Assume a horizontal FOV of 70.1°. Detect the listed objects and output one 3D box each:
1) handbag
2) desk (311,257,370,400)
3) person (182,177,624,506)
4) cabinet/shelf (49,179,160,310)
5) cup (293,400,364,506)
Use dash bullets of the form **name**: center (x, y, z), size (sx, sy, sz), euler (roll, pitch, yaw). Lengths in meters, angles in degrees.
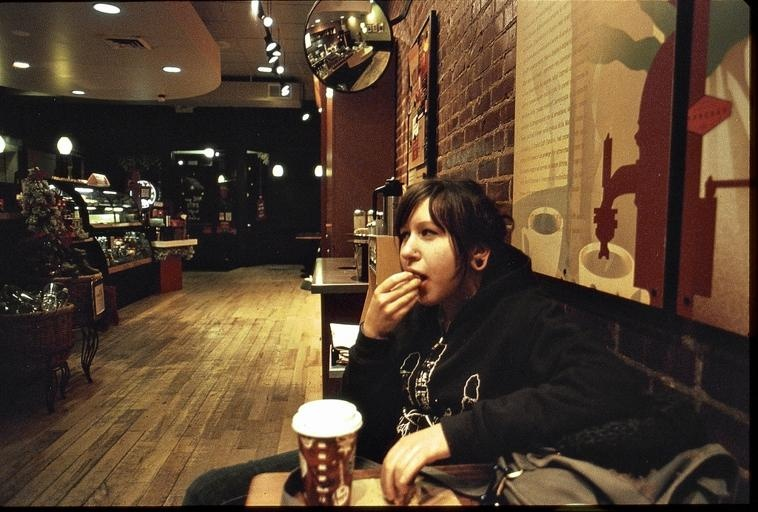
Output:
- **handbag**: center (0.654, 0.603, 1.449), size (0.386, 0.143, 0.293), euler (0, -7, 3)
- **desk**: center (-0.222, 0.390, 3.088), size (0.309, 0.545, 0.972), euler (0, 6, -3)
- **person**: center (0.013, 0.284, 2.156), size (1.116, 1.439, 1.093), euler (3, 1, -5)
- **cabinet/shelf**: center (-3.042, -0.092, 5.994), size (0.850, 1.617, 1.643), euler (-1, 4, -7)
- **cup**: center (-0.125, 0.526, 1.501), size (0.230, 0.297, 0.233), euler (1, -4, 0)
